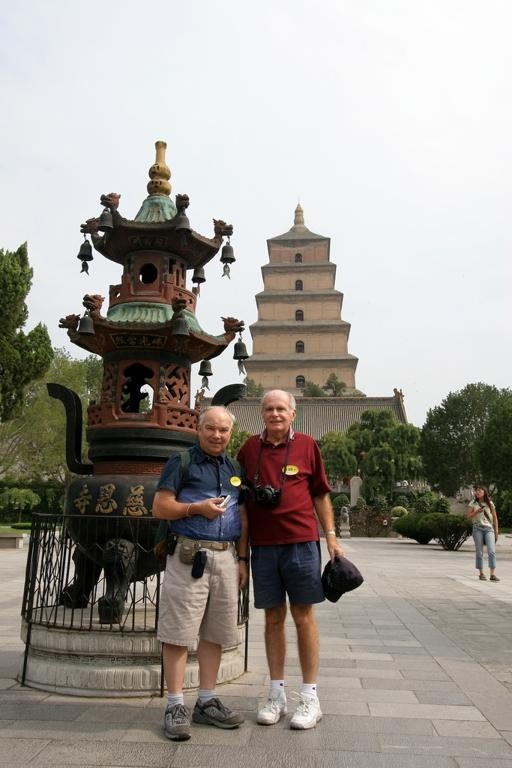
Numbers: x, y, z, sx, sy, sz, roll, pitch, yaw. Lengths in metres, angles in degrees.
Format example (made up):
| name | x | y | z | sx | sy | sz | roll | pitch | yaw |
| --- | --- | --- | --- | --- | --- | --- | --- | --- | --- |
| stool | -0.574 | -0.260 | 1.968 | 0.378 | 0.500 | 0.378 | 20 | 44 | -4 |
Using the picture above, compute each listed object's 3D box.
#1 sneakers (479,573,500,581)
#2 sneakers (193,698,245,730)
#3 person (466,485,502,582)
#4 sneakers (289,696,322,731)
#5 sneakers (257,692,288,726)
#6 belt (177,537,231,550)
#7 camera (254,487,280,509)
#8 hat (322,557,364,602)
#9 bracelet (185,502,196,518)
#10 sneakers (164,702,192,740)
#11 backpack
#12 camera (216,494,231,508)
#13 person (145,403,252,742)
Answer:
| name | x | y | z | sx | sy | sz | roll | pitch | yaw |
| --- | --- | --- | --- | --- | --- | --- | --- | --- | --- |
| sneakers | 3.704 | 3.172 | 10.995 | 0.397 | 0.141 | 0.143 | 0 | -5 | 10 |
| sneakers | -0.189 | 1.522 | 3.143 | 0.252 | 0.123 | 0.100 | -5 | -16 | 28 |
| person | 3.786 | 2.510 | 11.348 | 0.417 | 1.492 | 1.014 | -1 | -9 | 14 |
| sneakers | 0.217 | 1.496 | 3.080 | 0.088 | 0.118 | 0.173 | -3 | -10 | 26 |
| sneakers | 0.068 | 1.530 | 3.193 | 0.095 | 0.109 | 0.246 | -1 | -10 | 15 |
| belt | -0.244 | 0.763 | 3.201 | 0.253 | 0.056 | 0.070 | 6 | -10 | -27 |
| camera | 0.047 | 0.539 | 3.245 | 0.172 | 0.121 | 0.092 | 0 | -6 | 9 |
| hat | 0.406 | 0.962 | 3.318 | 0.190 | 0.220 | 0.196 | 1 | -9 | 6 |
| bracelet | -0.309 | 0.589 | 3.140 | 0.021 | 0.056 | 0.042 | 5 | 2 | 7 |
| sneakers | -0.341 | 1.452 | 2.908 | 0.113 | 0.111 | 0.185 | 3 | -9 | -6 |
| backpack | -0.247 | 0.552 | 3.354 | 0.499 | 0.477 | 0.285 | 14 | -20 | -33 |
| camera | -0.151 | 0.557 | 3.225 | 0.037 | 0.024 | 0.092 | -28 | -23 | -25 |
| person | -0.226 | 0.923 | 3.230 | 0.541 | 1.309 | 0.459 | 8 | -11 | -32 |
